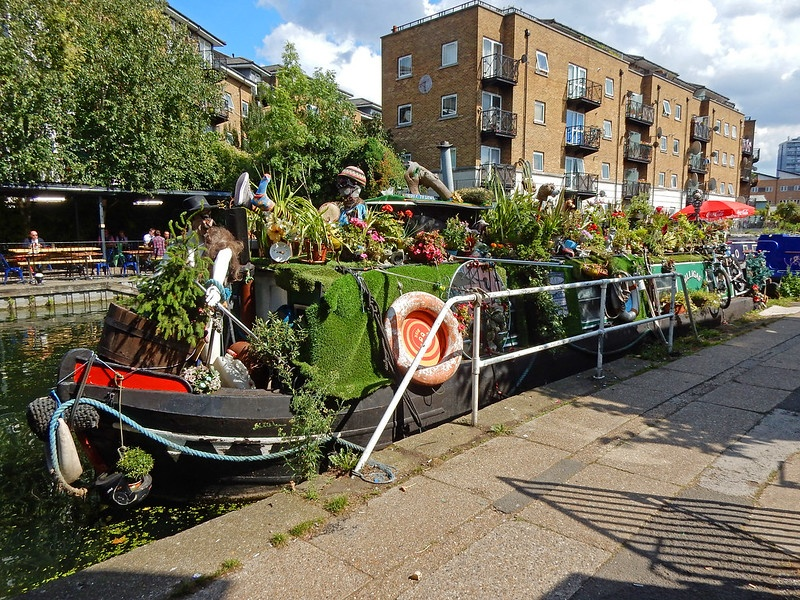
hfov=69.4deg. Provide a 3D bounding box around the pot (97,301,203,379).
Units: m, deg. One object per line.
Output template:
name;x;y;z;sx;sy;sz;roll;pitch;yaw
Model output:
pot;-2.507;0.374;5.831;0.594;0.380;0.810;15;-15;45

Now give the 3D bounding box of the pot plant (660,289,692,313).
pot plant;5.026;0.035;10.383;0.532;0.416;0.559;0;-3;-20

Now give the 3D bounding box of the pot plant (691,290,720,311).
pot plant;6.022;-0.016;11.475;0.425;0.272;0.460;0;2;1

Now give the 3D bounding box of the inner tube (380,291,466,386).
inner tube;0.266;0.446;6.577;0.960;1.054;0.277;23;-29;-14

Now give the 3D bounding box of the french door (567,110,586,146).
french door;9.439;-9.256;31.004;1.831;1.836;0.232;5;-7;-41

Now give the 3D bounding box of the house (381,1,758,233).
house;6.286;-7.952;25.556;4.448;5.787;15.563;8;8;43

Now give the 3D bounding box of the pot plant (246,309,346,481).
pot plant;-1.061;1.030;5.908;0.847;1.631;0.550;2;5;20

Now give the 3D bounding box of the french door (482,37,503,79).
french door;4.332;-11.236;26.848;1.058;2.000;0.622;-1;5;-23

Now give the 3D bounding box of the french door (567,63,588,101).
french door;9.295;-11.429;30.325;1.857;2.431;0.171;-5;7;-35

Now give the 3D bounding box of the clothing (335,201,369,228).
clothing;-0.574;-1.046;7.114;0.428;0.281;0.477;3;-9;-10

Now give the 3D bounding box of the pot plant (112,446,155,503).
pot plant;-2.543;1.647;5.543;0.291;0.491;0.327;11;0;-18

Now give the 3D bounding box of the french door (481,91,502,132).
french door;4.440;-8.953;27.417;1.130;1.890;0.559;-3;6;-42

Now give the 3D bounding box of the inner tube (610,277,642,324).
inner tube;3.719;-0.153;9.516;0.228;0.963;0.921;2;-24;29
